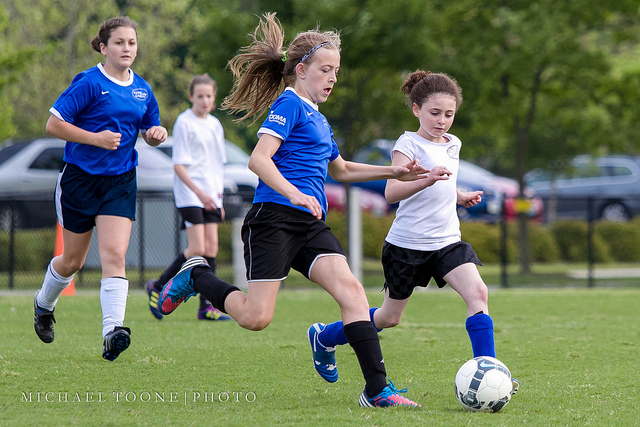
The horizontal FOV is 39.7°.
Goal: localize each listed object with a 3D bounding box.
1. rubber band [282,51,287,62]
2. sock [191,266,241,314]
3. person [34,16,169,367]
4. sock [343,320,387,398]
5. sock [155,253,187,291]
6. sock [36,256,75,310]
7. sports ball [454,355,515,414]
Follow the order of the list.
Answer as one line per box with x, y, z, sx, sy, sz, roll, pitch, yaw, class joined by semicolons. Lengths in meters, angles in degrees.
-0.318;-1.408;7.932;0.055;0.083;0.078;4;10;4;rubber band
-1.011;0.638;8.128;0.721;0.211;0.261;39;19;35;sock
-2.072;-0.263;8.341;1.075;3.150;0.938;0;6;-9;person
0.401;1.209;7.514;0.374;0.623;0.201;5;8;39;sock
-1.678;0.685;10.326;0.352;0.413;0.361;6;8;44;sock
-2.620;0.687;8.809;0.329;0.563;0.395;0;-4;-16;sock
1.411;1.419;7.577;0.438;0.441;0.444;3;34;-2;sports ball
